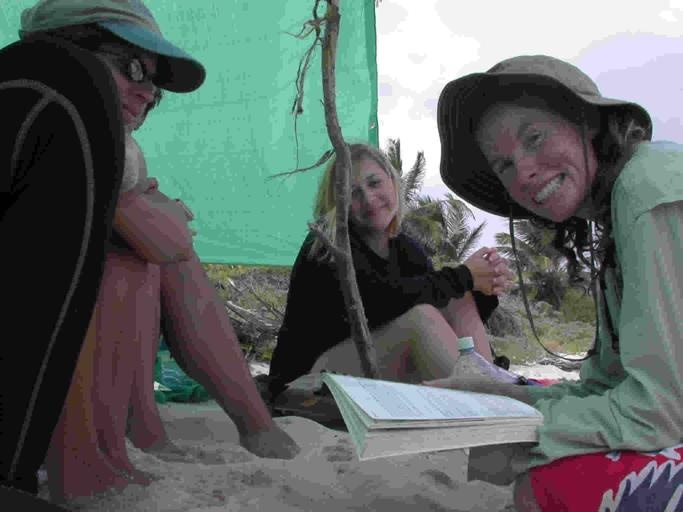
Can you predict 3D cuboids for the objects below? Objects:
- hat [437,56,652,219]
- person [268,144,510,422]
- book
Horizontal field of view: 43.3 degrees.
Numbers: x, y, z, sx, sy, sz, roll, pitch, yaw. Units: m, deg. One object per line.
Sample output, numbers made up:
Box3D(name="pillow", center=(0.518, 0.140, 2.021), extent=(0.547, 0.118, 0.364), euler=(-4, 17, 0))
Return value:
Box3D(name="hat", center=(0.669, -0.548, 3.088), extent=(0.596, 0.254, 0.530), euler=(-9, -9, -10))
Box3D(name="person", center=(0.273, 0.079, 4.122), extent=(1.044, 1.333, 0.578), euler=(3, 23, 26))
Box3D(name="book", center=(0.295, 0.495, 2.637), extent=(0.632, 0.227, 0.349), euler=(4, 0, -16))
